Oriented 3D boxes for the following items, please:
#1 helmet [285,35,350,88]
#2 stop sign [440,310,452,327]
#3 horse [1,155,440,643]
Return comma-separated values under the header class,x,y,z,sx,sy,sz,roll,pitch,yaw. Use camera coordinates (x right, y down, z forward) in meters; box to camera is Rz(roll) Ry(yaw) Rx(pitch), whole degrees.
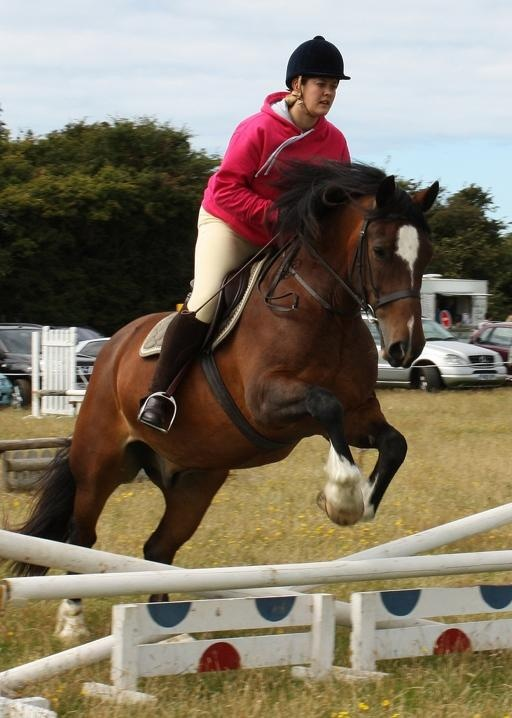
class,x,y,z,sx,sy,sz,roll,pitch,yaw
helmet,0.261,-1.336,3.351,0.270,0.200,0.341,-3,18,-18
stop sign,5.390,-1.183,21.713,0.446,0.495,0.148,-4,-7,-24
horse,-0.407,0.378,3.910,0.838,1.743,3.766,10,-25,-39
